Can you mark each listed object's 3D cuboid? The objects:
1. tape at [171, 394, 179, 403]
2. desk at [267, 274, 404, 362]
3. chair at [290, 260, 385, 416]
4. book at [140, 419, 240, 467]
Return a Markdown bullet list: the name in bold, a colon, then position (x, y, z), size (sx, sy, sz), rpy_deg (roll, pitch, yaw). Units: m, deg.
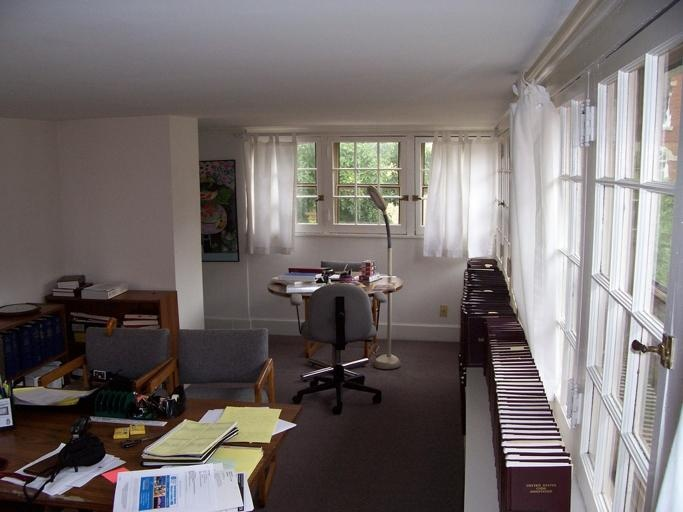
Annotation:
- **tape**: position (-0.821, 0.697, 2.436), size (0.025, 0.030, 0.032), rpy_deg (2, 1, -17)
- **desk**: position (0.016, 0.541, 4.801), size (1.114, 0.647, 0.946), rpy_deg (0, 17, 5)
- **chair**: position (-0.027, 0.674, 4.343), size (0.949, 1.318, 0.906), rpy_deg (0, 8, -2)
- **book**: position (-0.651, 0.803, 2.146), size (0.291, 0.068, 0.321), rpy_deg (2, 10, 18)
